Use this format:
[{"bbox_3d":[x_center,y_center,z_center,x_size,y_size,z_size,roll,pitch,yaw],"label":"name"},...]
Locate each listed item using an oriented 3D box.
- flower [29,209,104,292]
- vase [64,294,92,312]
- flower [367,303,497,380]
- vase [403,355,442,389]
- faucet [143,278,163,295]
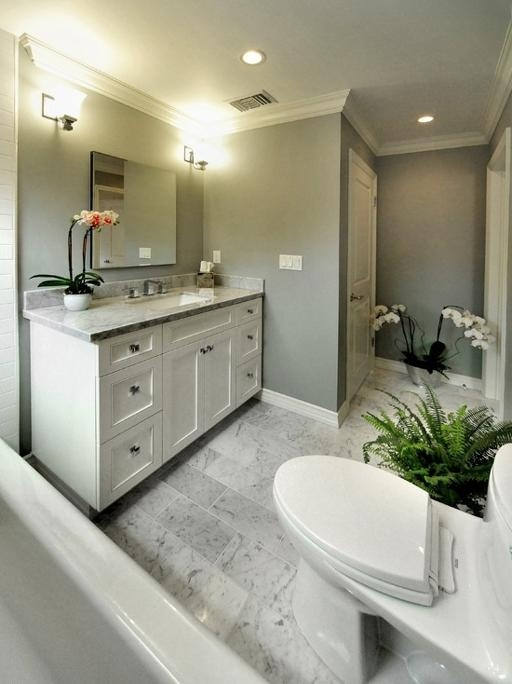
[{"bbox_3d":[-0.830,-0.401,2.259,0.330,0.373,0.303,2,10,-8],"label":"flower"},{"bbox_3d":[-0.798,-0.174,2.205,0.087,0.055,0.089,1,4,14],"label":"vase"},{"bbox_3d":[1.296,0.006,3.695,0.393,0.571,1.048,-8,13,-42],"label":"flower"},{"bbox_3d":[1.250,0.227,3.644,0.217,0.134,0.207,-3,15,-8],"label":"vase"},{"bbox_3d":[-0.602,-0.324,2.865,0.056,0.102,0.177,-1,6,-21],"label":"faucet"}]
